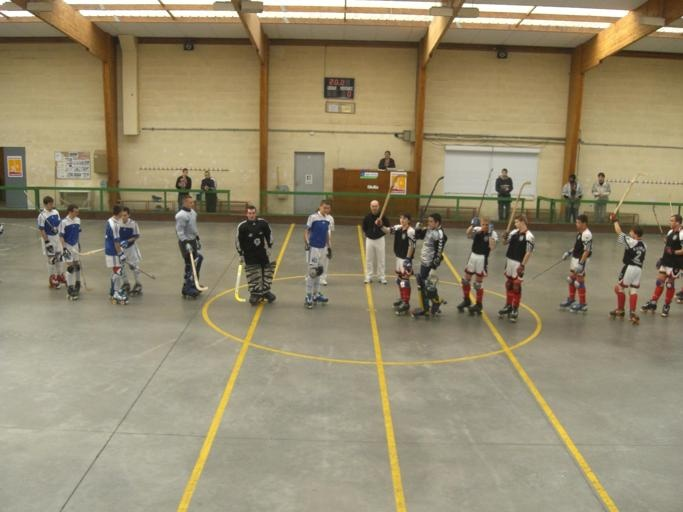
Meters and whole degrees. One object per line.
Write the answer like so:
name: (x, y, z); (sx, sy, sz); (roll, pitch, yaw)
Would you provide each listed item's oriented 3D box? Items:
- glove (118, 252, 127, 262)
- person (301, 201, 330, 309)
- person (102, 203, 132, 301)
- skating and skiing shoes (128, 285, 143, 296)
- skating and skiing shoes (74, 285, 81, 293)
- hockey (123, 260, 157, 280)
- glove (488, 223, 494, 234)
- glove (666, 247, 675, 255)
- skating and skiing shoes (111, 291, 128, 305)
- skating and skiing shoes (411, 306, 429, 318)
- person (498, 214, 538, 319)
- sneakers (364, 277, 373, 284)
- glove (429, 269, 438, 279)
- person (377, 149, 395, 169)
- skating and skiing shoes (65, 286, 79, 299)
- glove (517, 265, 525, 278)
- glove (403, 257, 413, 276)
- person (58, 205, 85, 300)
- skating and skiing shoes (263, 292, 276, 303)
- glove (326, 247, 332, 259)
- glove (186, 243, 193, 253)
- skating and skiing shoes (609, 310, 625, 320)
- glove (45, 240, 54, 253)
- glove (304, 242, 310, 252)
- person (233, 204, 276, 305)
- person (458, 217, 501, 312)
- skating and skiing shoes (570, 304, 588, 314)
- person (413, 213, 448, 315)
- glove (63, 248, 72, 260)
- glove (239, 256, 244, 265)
glove: (-5.582, 0.018, 15.385); (0.135, 0.187, 0.184); (1, -3, -15)
person: (-0.587, -0.089, 15.600); (0.659, 2.659, 1.199); (0, 8, -1)
person: (-5.725, -0.077, 15.314); (0.472, 2.450, 1.047); (-3, 8, -20)
skating and skiing shoes: (-5.409, 0.901, 15.911); (0.189, 0.205, 0.446); (0, -2, 2)
skating and skiing shoes: (-6.782, 0.835, 15.486); (0.124, 0.148, 0.163); (1, -5, -3)
hockey: (-5.766, 0.412, 17.216); (0.825, 0.146, 0.140); (31, 46, -1)
glove: (3.667, -0.694, 14.781); (0.133, 0.224, 0.260); (2, 7, 14)
glove: (8.358, -0.132, 15.373); (0.108, 0.054, 0.151); (8, -35, 9)
skating and skiing shoes: (-5.542, 1.046, 15.078); (0.250, 0.218, 0.409); (3, 8, -26)
skating and skiing shoes: (1.916, 1.380, 14.748); (0.382, 0.170, 0.203); (1, 6, -3)
person: (4.230, 0.278, 14.586); (0.683, 2.543, 0.660); (7, 10, 39)
sneakers: (0.786, 0.703, 17.580); (0.171, 0.201, 0.469); (1, 0, 12)
glove: (2.391, 0.464, 15.786); (0.164, 0.235, 0.234); (-4, -9, 16)
person: (2.072, -4.385, 27.464); (0.753, 0.829, 0.558); (-2, 8, -15)
skating and skiing shoes: (-6.854, 0.923, 15.397); (0.271, 0.335, 0.285); (-3, 8, -25)
glove: (4.285, 0.328, 14.446); (0.158, 0.392, 0.537); (4, 8, 22)
glove: (1.653, 0.256, 15.002); (0.288, 0.385, 0.382); (0, -3, 2)
person: (-7.065, -0.157, 15.739); (0.497, 2.389, 1.340); (-3, 8, -25)
skating and skiing shoes: (-1.864, 1.000, 15.630); (0.210, 0.298, 0.290); (21, 51, 26)
glove: (-0.341, -0.061, 16.103); (0.082, 0.236, 0.176); (-4, 14, 10)
glove: (-3.919, -0.219, 15.708); (0.081, 0.245, 0.199); (5, 9, 32)
skating and skiing shoes: (6.831, 1.429, 14.956); (0.325, 0.230, 0.184); (11, 12, 13)
glove: (-7.823, -0.249, 16.170); (0.215, 0.303, 0.117); (-2, 8, -21)
glove: (-0.869, -0.235, 15.618); (0.089, 0.203, 0.181); (0, 7, -5)
person: (-2.180, 0.108, 15.385); (0.914, 2.224, 0.384); (-1, 8, -11)
person: (3.430, 0.229, 15.030); (0.631, 2.427, 0.943); (-6, 10, -39)
skating and skiing shoes: (6.013, 1.327, 15.408); (0.482, 0.238, 0.175); (2, 3, -7)
person: (2.194, 0.186, 14.967); (0.715, 2.522, 1.107); (2, 8, 9)
glove: (-7.024, -0.074, 15.459); (0.221, 0.298, 0.147); (0, 8, -4)
glove: (-2.545, 0.111, 15.260); (0.162, 0.244, 0.167); (0, 1, -45)
